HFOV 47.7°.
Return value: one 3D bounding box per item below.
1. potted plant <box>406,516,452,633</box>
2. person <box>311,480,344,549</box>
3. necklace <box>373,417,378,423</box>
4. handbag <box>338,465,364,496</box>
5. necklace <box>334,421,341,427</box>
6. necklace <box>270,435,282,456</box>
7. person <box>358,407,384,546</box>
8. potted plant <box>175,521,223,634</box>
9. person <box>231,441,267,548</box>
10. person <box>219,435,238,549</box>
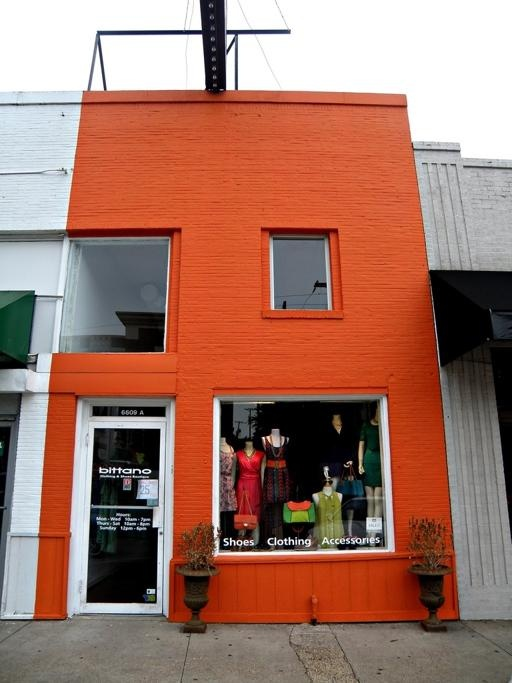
[{"bbox_3d":[1.906,2.524,6.337,0.447,1.079,0.562,-2,-8,16],"label":"potted plant"},{"bbox_3d":[0.850,2.033,6.812,0.356,0.747,0.130,0,-8,3],"label":"person"},{"bbox_3d":[1.452,0.959,7.016,0.042,0.043,0.041,1,-6,-9],"label":"necklace"},{"bbox_3d":[1.134,1.675,6.924,0.360,0.458,0.166,-1,-3,4],"label":"handbag"},{"bbox_3d":[0.992,0.997,7.037,0.067,0.072,0.072,-2,-30,0],"label":"necklace"},{"bbox_3d":[0.248,1.243,6.892,0.114,0.225,0.052,5,-4,-6],"label":"necklace"},{"bbox_3d":[1.351,1.570,6.902,0.285,1.628,0.122,-1,-8,10],"label":"person"},{"bbox_3d":[-0.638,2.508,6.186,0.429,1.047,0.469,1,-8,-5],"label":"potted plant"},{"bbox_3d":[-0.090,1.773,6.913,0.366,1.312,0.227,1,15,-1],"label":"person"},{"bbox_3d":[-0.327,1.754,6.774,0.213,1.232,0.113,2,-8,-10],"label":"person"}]
